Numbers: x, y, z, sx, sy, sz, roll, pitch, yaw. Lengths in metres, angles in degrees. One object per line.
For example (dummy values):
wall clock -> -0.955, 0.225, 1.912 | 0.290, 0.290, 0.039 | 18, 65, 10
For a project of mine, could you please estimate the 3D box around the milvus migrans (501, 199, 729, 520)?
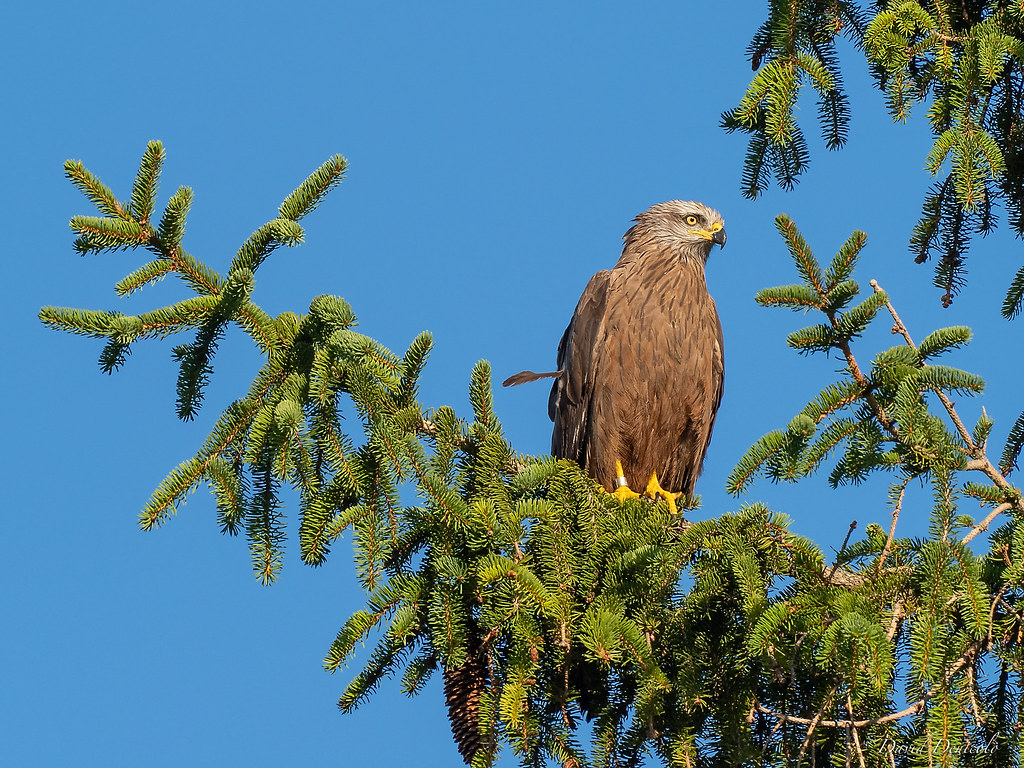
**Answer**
milvus migrans -> 0.727, -0.175, 14.285 | 1.069, 2.009, 1.452 | 8, -6, -40
